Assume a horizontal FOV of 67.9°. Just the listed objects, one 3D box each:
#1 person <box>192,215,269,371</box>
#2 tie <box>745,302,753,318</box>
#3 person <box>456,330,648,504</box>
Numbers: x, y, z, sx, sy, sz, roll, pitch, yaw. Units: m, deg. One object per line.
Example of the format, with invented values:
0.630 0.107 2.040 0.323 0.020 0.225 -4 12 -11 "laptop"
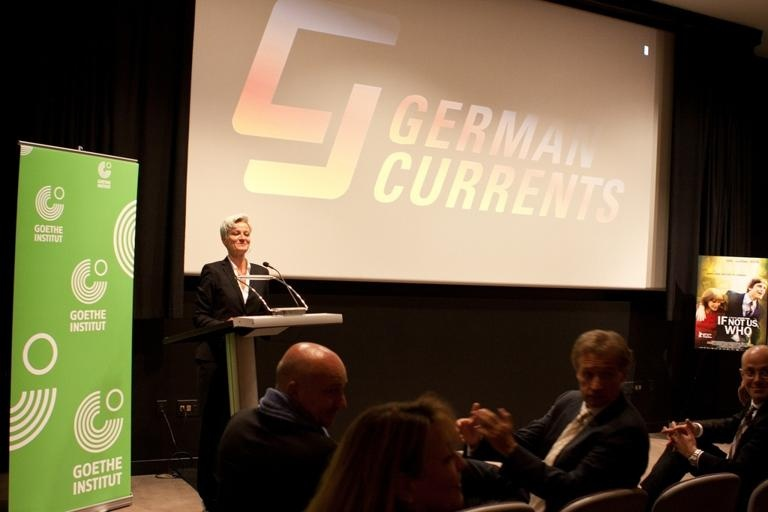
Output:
-1.144 0.102 4.356 0.534 0.871 0.374 5 -6 -18 "person"
4.053 0.603 6.345 0.096 0.150 0.038 -1 -11 17 "tie"
0.920 0.882 3.098 0.826 0.975 0.536 4 -6 -9 "person"
